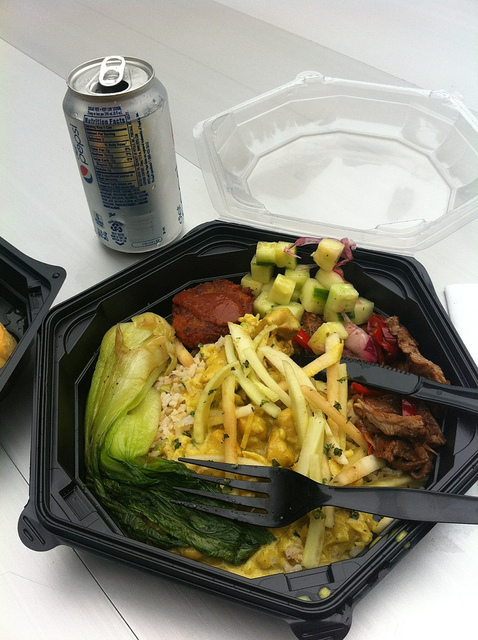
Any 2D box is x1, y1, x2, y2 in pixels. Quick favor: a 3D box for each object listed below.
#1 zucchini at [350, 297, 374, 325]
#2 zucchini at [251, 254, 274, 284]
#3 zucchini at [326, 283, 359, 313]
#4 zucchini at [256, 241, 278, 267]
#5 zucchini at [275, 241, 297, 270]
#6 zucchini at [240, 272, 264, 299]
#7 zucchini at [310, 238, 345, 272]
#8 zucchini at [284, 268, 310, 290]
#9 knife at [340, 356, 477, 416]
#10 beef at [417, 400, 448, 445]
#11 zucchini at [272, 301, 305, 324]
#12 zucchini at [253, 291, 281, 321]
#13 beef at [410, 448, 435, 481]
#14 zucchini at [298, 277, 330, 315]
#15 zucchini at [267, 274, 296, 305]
[{"bbox_3d":[0.512,-0.042,2.373,0.082,0.099,0.107,26,27,20],"label":"zucchini"},{"bbox_3d":[0.080,-0.220,2.445,0.128,0.110,0.119,-3,13,-36],"label":"zucchini"},{"bbox_3d":[0.422,-0.091,2.346,0.113,0.114,0.113,6,52,33],"label":"zucchini"},{"bbox_3d":[0.111,-0.276,2.426,0.099,0.119,0.109,2,86,-3],"label":"zucchini"},{"bbox_3d":[0.194,-0.266,2.395,0.108,0.135,0.120,1,94,3],"label":"zucchini"},{"bbox_3d":[0.059,-0.154,2.551,0.104,0.102,0.089,6,74,-44],"label":"zucchini"},{"bbox_3d":[0.367,-0.274,2.398,0.133,0.125,0.133,28,18,2],"label":"zucchini"},{"bbox_3d":[0.263,-0.183,2.448,0.097,0.067,0.083,0,95,-5],"label":"zucchini"},{"bbox_3d":[0.546,0.228,2.067,0.604,0.066,0.131,16,62,29],"label":"knife"},{"bbox_3d":[0.657,0.347,1.955,0.090,0.038,0.146,3,50,-19],"label":"beef"},{"bbox_3d":[0.221,-0.046,2.436,0.108,0.069,0.097,-9,48,18],"label":"zucchini"},{"bbox_3d":[0.107,-0.070,2.480,0.118,0.105,0.104,-11,68,-12],"label":"zucchini"},{"bbox_3d":[0.608,0.484,1.938,0.086,0.103,0.039,13,13,-34],"label":"beef"},{"bbox_3d":[0.315,-0.102,2.460,0.149,0.134,0.120,-5,43,-35],"label":"zucchini"},{"bbox_3d":[0.168,-0.115,2.403,0.135,0.123,0.116,8,71,-4],"label":"zucchini"}]
